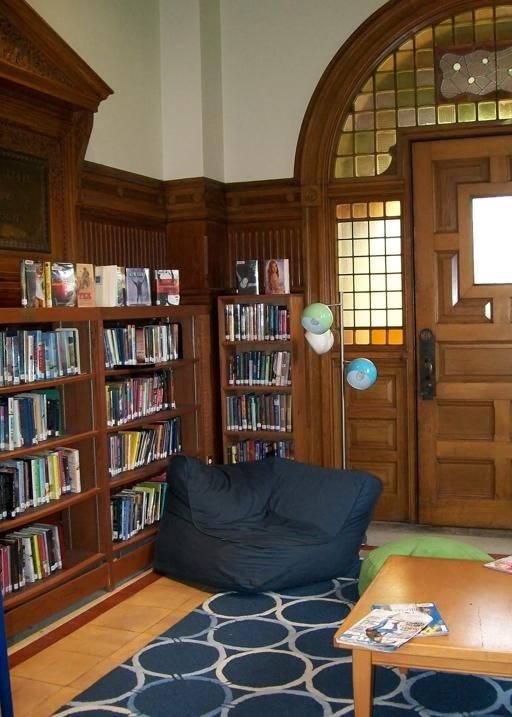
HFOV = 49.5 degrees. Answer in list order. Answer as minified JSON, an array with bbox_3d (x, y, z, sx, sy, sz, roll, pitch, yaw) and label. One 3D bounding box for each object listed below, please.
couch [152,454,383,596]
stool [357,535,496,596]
[{"bbox_3d":[0.052,0.971,3.514,1.133,0.550,1.172,8,9,41],"label":"couch"},{"bbox_3d":[0.794,0.920,2.675,0.468,0.248,0.476,-5,6,3],"label":"stool"}]
